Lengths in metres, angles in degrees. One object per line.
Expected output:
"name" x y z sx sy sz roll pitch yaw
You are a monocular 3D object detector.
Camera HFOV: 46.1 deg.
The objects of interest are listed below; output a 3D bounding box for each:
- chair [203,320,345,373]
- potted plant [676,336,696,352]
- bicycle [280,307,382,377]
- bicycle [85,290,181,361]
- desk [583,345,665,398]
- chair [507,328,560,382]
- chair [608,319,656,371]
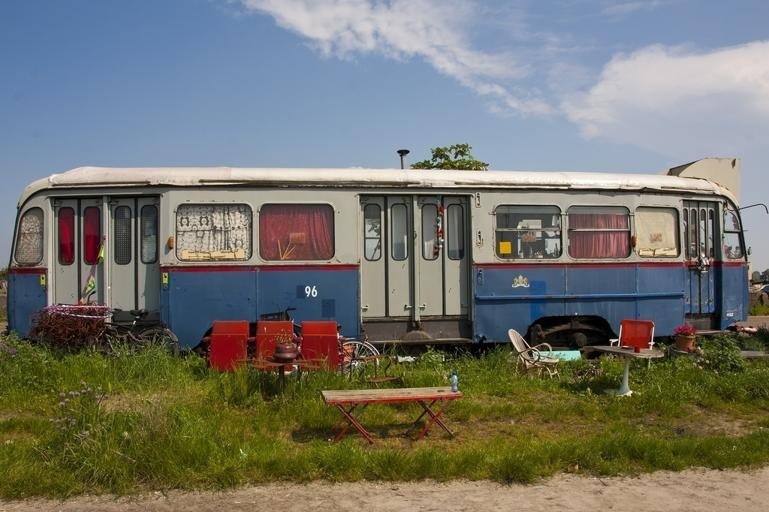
"chair" -2.245 1.819 18.557 2.589 1.038 1.503 -3 -3 27
"potted plant" 6.789 1.942 20.185 0.358 0.275 0.361 1 0 -33
"bicycle" -1.087 1.928 18.959 2.098 1.313 1.035 -1 -5 -20
"bicycle" -5.655 1.708 19.408 2.188 1.388 1.048 -4 5 4
"desk" 5.095 2.359 19.066 1.411 0.956 2.178 -2 -3 8
"chair" 3.265 2.165 19.552 1.053 1.037 0.878 1 2 26
"chair" 5.218 1.955 18.818 0.914 1.241 0.986 3 1 9
